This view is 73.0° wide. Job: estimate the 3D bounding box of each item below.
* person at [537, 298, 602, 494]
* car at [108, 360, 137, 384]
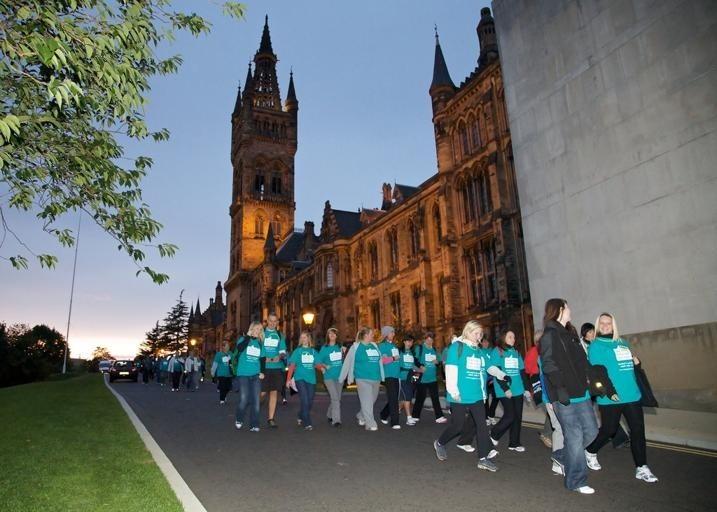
[{"bbox_3d":[3.136,2.065,7.233,0.900,2.826,0.442,5,-14,-23],"label":"person"},{"bbox_3d":[-20.500,10.021,41.963,2.400,1.716,2.877,11,-17,-37],"label":"car"}]
